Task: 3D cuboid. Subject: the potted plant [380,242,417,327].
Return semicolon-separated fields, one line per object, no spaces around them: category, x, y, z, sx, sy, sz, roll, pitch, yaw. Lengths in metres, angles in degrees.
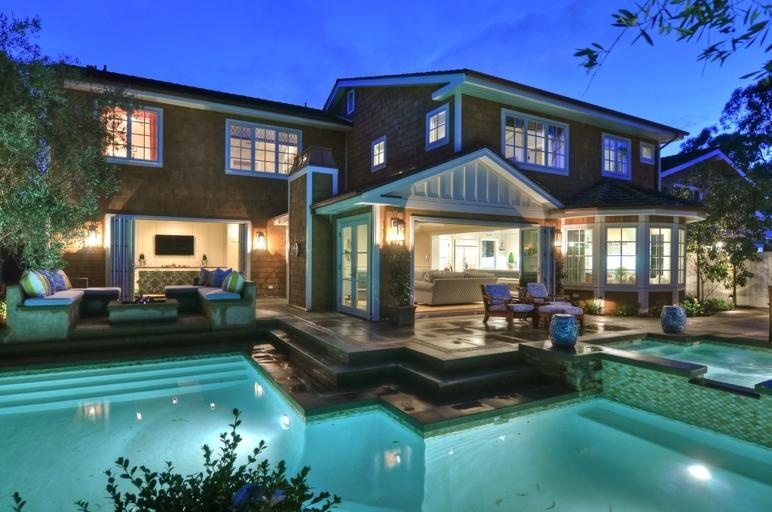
potted plant;0.277;0.676;13.048;0.813;2.021;0.884;0;-2;-1

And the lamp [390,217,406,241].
lamp;0.331;-0.662;13.314;0.461;0.561;0.166;1;-2;-34

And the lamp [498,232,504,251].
lamp;4.867;-0.574;22.259;0.253;0.763;0.133;-1;-2;12

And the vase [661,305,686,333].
vase;6.780;1.439;12.377;0.597;0.587;0.593;-2;2;-14

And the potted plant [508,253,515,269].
potted plant;5.069;0.187;21.288;0.278;0.643;0.669;-1;-2;12

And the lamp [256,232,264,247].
lamp;-4.334;-0.560;18.257;0.303;0.539;0.118;1;-2;-28
